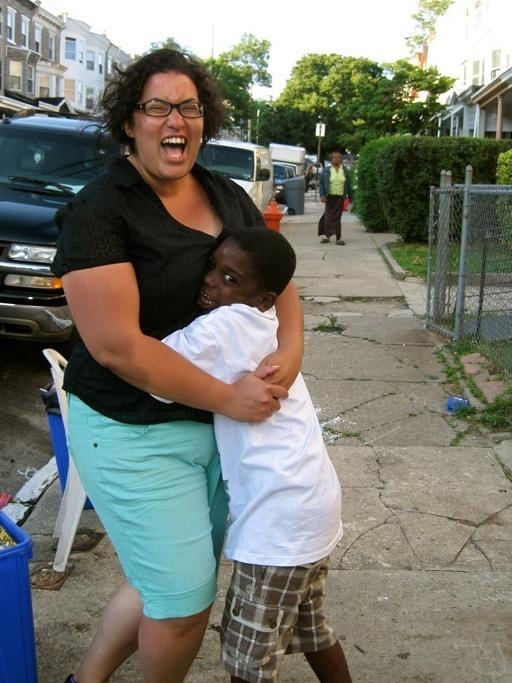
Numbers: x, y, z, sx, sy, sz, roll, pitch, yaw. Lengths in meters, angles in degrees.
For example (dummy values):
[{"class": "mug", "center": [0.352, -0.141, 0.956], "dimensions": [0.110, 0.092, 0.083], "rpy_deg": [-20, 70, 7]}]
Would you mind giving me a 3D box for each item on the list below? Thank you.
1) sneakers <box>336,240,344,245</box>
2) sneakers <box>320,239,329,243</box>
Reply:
[{"class": "sneakers", "center": [1.993, -2.317, 14.128], "dimensions": [0.120, 0.070, 0.162], "rpy_deg": [-1, 5, -10]}, {"class": "sneakers", "center": [1.678, -2.437, 14.586], "dimensions": [0.127, 0.093, 0.158], "rpy_deg": [-4, 8, 5]}]
